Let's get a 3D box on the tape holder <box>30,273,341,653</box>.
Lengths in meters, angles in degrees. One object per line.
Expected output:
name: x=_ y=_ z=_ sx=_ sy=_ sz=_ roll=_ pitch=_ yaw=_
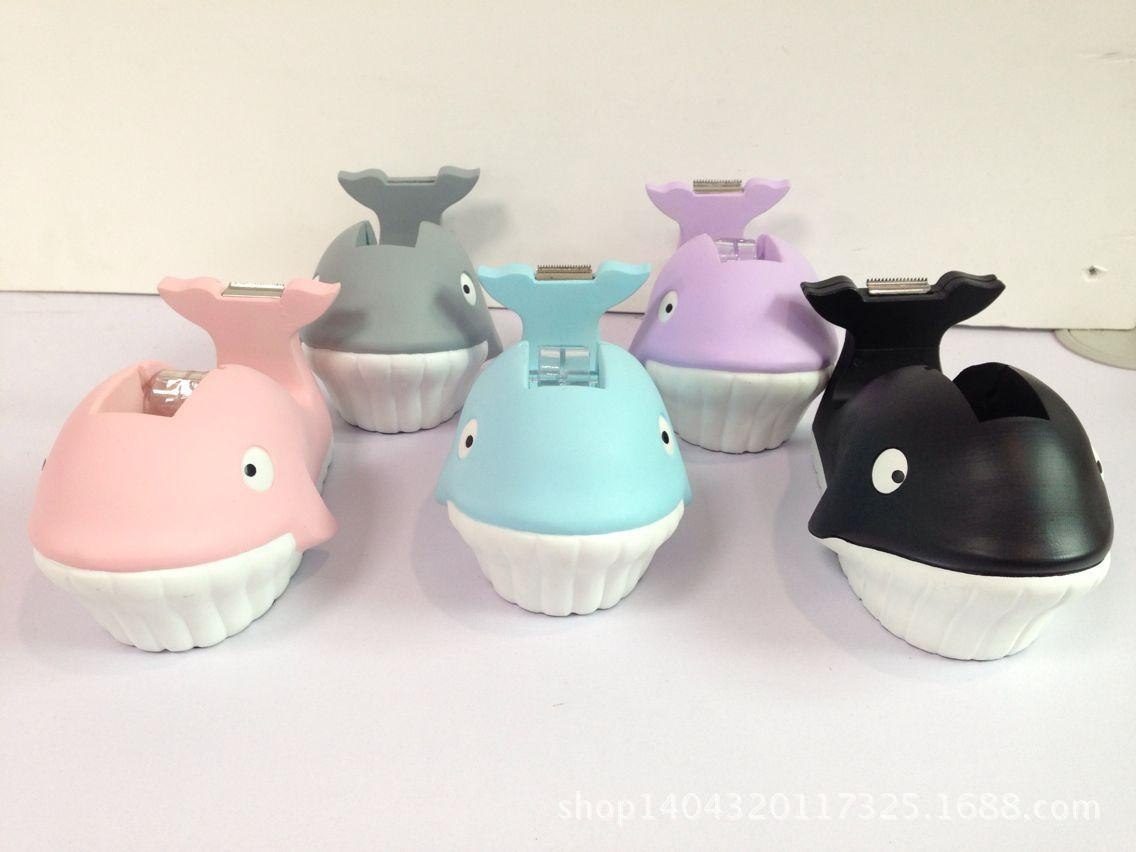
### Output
tape holder: x=-0.556 y=0.034 z=1.630 sx=0.371 sy=0.438 sz=0.592 roll=2 pitch=27 yaw=10

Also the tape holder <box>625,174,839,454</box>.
tape holder: x=0.289 y=-0.195 z=1.860 sx=0.336 sy=0.473 sz=0.496 roll=-2 pitch=16 yaw=-8

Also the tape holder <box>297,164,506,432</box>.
tape holder: x=-0.290 y=-0.240 z=1.874 sx=0.327 sy=0.461 sz=0.433 roll=-1 pitch=12 yaw=-6
